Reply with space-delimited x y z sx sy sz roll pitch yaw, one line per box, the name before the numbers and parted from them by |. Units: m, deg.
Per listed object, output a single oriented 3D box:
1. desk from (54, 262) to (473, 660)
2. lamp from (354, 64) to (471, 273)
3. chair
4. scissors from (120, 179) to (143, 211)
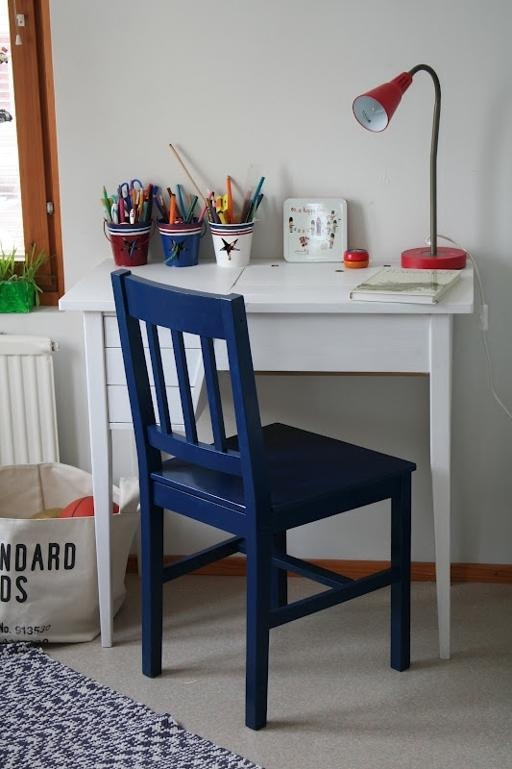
desk | 0.075 0.252 1.792 1.035 0.990 0.781 1 15 9
lamp | 0.335 -0.465 1.467 0.221 0.443 0.382 2 7 16
chair | 0.024 0.182 1.323 0.396 0.768 0.467 7 13 41
scissors | -0.302 -0.459 1.669 0.056 0.108 0.005 -4 -26 8
